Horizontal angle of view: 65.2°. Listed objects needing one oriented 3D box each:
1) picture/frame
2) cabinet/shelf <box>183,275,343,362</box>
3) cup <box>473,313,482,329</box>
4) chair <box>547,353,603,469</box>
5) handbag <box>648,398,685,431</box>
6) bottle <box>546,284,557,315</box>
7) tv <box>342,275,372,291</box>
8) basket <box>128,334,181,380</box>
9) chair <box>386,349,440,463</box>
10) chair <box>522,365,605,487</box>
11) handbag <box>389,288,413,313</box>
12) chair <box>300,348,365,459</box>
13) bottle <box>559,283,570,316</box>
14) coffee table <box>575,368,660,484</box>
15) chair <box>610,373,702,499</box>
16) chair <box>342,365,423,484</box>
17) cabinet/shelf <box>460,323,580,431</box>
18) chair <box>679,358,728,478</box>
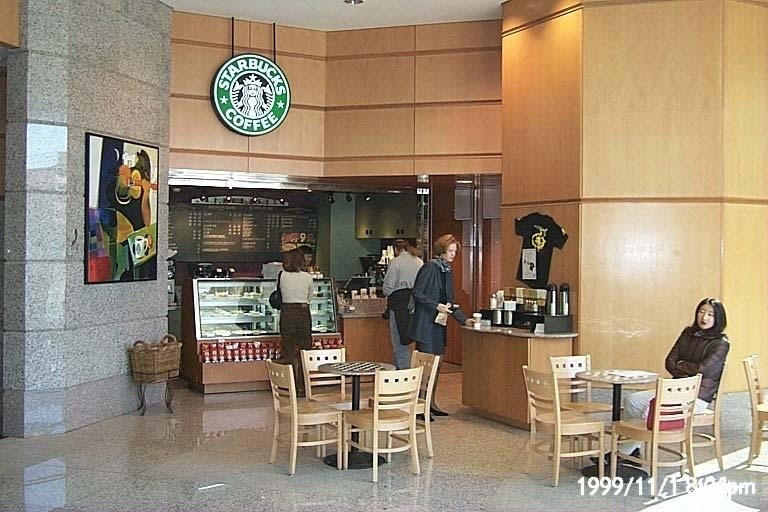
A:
[{"bbox_3d":[-3.382,-0.587,7.712,0.147,1.822,1.138,2,4,20],"label":"picture/frame"},{"bbox_3d":[-1.640,0.975,9.241,2.301,1.319,0.779,-3,5,14],"label":"cabinet/shelf"},{"bbox_3d":[1.234,0.853,8.002,0.172,0.233,0.167,-1,2,0],"label":"cup"},{"bbox_3d":[2.097,1.526,6.286,0.621,0.907,0.683,2,-2,-30],"label":"chair"},{"bbox_3d":[2.667,1.449,5.638,0.417,0.332,0.150,0,4,-15],"label":"handbag"},{"bbox_3d":[2.094,0.532,7.466,0.125,0.357,0.186,1,4,11],"label":"bottle"},{"bbox_3d":[-0.480,0.494,10.969,0.429,0.090,0.284,1,-24,-17],"label":"tv"},{"bbox_3d":[-3.055,1.384,7.978,0.506,0.608,0.558,2,4,29],"label":"basket"},{"bbox_3d":[0.180,1.595,6.601,0.766,1.050,0.678,3,-3,-8],"label":"chair"},{"bbox_3d":[1.814,1.668,6.018,0.797,0.976,0.817,-3,-10,33],"label":"chair"},{"bbox_3d":[0.210,0.603,8.228,0.318,0.275,0.310,2,-2,12],"label":"handbag"},{"bbox_3d":[-0.564,1.454,6.629,0.585,0.904,0.647,1,-11,-27],"label":"chair"},{"bbox_3d":[2.247,0.537,7.455,0.129,0.372,0.138,0,3,0],"label":"bottle"},{"bbox_3d":[2.343,1.720,6.334,1.069,1.090,0.997,0,-1,-10],"label":"coffee table"},{"bbox_3d":[2.634,1.661,5.837,0.609,0.977,0.640,2,-2,-27],"label":"chair"},{"bbox_3d":[-0.010,1.644,6.140,0.689,1.008,0.708,6,-8,-44],"label":"chair"},{"bbox_3d":[1.833,1.173,7.844,1.151,1.215,1.763,-1,2,-28],"label":"cabinet/shelf"},{"bbox_3d":[3.181,1.670,6.308,0.587,0.935,0.661,3,-8,6],"label":"chair"}]
